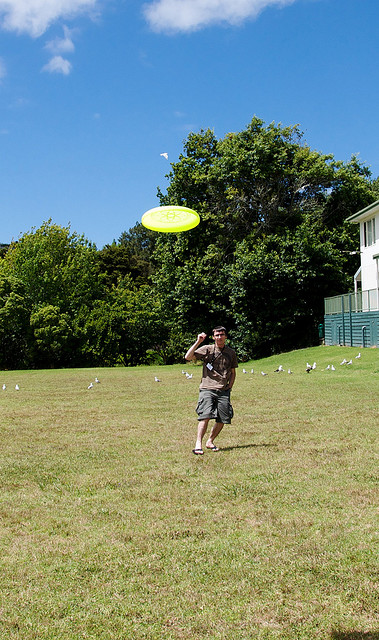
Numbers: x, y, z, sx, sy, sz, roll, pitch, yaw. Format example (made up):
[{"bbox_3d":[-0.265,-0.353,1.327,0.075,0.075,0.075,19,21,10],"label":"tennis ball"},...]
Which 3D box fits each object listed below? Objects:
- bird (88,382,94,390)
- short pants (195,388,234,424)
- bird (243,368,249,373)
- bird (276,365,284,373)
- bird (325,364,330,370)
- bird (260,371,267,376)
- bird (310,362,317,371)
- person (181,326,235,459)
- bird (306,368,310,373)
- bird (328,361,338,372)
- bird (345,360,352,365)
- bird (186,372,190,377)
[{"bbox_3d":[-3.288,2.246,21.351,0.261,0.254,0.117,11,19,23],"label":"bird"},{"bbox_3d":[0.332,1.155,8.475,0.444,0.457,0.383,-3,-1,2],"label":"short pants"},{"bbox_3d":[2.279,2.084,25.722,0.106,0.346,0.148,-24,21,2],"label":"bird"},{"bbox_3d":[3.472,1.902,24.355,0.141,0.242,0.352,7,-25,0],"label":"bird"},{"bbox_3d":[4.997,1.708,23.031,0.070,0.185,0.259,13,45,38],"label":"bird"},{"bbox_3d":[2.662,1.907,22.861,0.106,0.141,0.333,-11,-10,21],"label":"bird"},{"bbox_3d":[4.836,1.811,24.914,0.124,0.285,0.095,26,-18,-32],"label":"bird"},{"bbox_3d":[0.298,0.923,8.522,0.623,1.643,1.062,-3,-1,4],"label":"person"},{"bbox_3d":[4.206,1.780,22.450,0.132,0.146,0.119,-1,-7,-15],"label":"bird"},{"bbox_3d":[5.123,1.756,22.963,0.410,0.432,0.151,-4,-11,15],"label":"bird"},{"bbox_3d":[5.875,1.582,23.464,0.089,0.225,0.305,9,13,38],"label":"bird"},{"bbox_3d":[-0.073,2.060,23.913,0.054,0.176,0.072,-15,8,8],"label":"bird"}]
